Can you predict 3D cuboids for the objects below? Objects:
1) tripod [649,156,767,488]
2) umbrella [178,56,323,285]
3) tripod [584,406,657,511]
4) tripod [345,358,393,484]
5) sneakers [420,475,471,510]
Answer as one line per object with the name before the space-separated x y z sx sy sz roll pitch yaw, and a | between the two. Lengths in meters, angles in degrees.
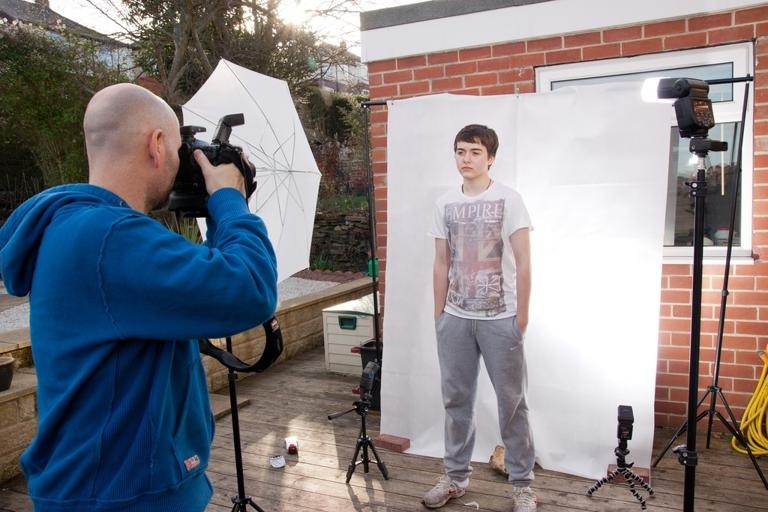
tripod | 2.671 0.484 4.769 0.805 2.401 1.247 4 15 25
umbrella | -0.904 -0.625 4.579 0.596 1.511 1.647 4 -7 33
tripod | 1.822 1.449 4.484 0.454 0.761 0.410 -16 19 -42
tripod | -0.154 1.295 4.971 0.347 1.012 0.665 -3 14 0
sneakers | 0.466 1.785 4.589 0.398 0.175 0.167 -18 17 -27
